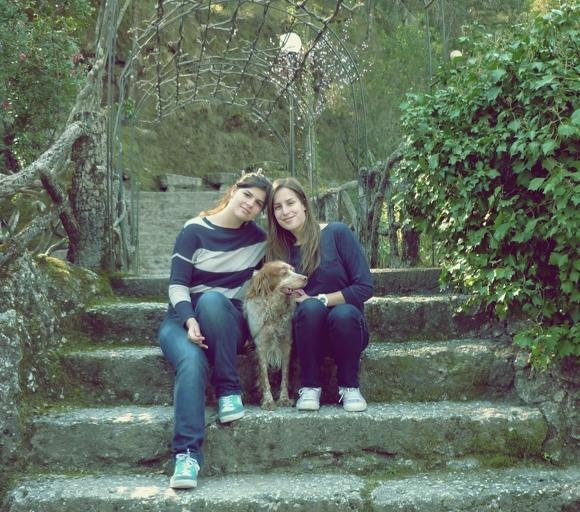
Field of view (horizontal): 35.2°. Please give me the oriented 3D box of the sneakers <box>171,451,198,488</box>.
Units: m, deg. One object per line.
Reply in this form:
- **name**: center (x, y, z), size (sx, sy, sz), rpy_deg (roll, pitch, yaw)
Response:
- **sneakers**: center (-0.613, 1.227, 5.280), size (0.159, 0.209, 0.112), rpy_deg (-1, 1, -5)

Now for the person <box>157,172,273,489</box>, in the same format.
- **person**: center (-0.511, 0.383, 5.742), size (0.598, 1.891, 1.037), rpy_deg (0, 1, 34)

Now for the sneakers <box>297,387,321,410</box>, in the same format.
- **sneakers**: center (0.110, 0.881, 5.761), size (0.150, 0.133, 0.233), rpy_deg (-1, 0, 1)

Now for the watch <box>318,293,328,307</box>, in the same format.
- **watch**: center (0.205, 0.277, 5.779), size (0.049, 0.077, 0.064), rpy_deg (-6, -11, 0)

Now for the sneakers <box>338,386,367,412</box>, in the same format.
- **sneakers**: center (0.363, 0.883, 5.748), size (0.163, 0.138, 0.301), rpy_deg (-1, 0, -33)

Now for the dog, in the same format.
- **dog**: center (-0.122, 0.565, 6.079), size (0.324, 0.936, 0.965), rpy_deg (2, -13, -4)
